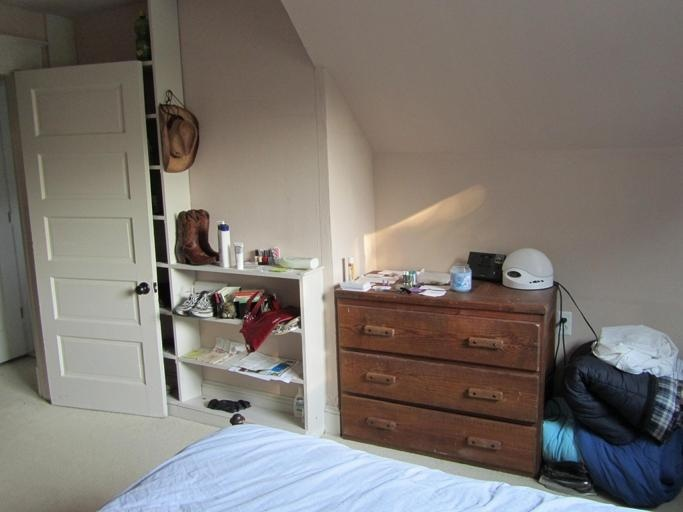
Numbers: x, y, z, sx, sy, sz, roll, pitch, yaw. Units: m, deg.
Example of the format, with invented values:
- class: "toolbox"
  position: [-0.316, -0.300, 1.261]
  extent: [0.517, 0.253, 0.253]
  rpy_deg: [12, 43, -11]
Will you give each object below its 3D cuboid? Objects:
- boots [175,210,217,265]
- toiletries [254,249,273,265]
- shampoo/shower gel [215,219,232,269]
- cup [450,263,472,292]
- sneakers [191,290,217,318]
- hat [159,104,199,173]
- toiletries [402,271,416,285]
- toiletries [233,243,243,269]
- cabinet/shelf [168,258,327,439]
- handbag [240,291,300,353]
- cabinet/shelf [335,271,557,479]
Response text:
- class: "boots"
  position: [-0.937, -0.128, 3.577]
  extent: [0.321, 0.354, 0.290]
  rpy_deg: [10, 15, 41]
- class: "toiletries"
  position: [-0.510, 0.005, 3.441]
  extent: [0.155, 0.100, 0.038]
  rpy_deg: [5, 5, 34]
- class: "shampoo/shower gel"
  position: [-0.775, -0.080, 3.487]
  extent: [0.091, 0.291, 0.241]
  rpy_deg: [1, 5, -13]
- class: "cup"
  position: [0.698, 0.140, 3.151]
  extent: [0.142, 0.157, 0.142]
  rpy_deg: [-1, 0, 0]
- class: "sneakers"
  position: [-0.911, 0.322, 3.525]
  extent: [0.136, 0.153, 0.208]
  rpy_deg: [2, 4, 4]
- class: "hat"
  position: [-1.049, -0.763, 3.414]
  extent: [0.327, 0.386, 0.150]
  rpy_deg: [-9, 23, -33]
- class: "toiletries"
  position: [0.409, 0.137, 3.218]
  extent: [0.077, 0.080, 0.076]
  rpy_deg: [1, 3, -2]
- class: "toiletries"
  position: [-0.659, -0.002, 3.410]
  extent: [0.053, 0.166, 0.177]
  rpy_deg: [1, 4, -11]
- class: "cabinet/shelf"
  position: [-0.584, 0.581, 3.414]
  extent: [1.109, 1.029, 0.329]
  rpy_deg: [2, 6, 21]
- class: "handbag"
  position: [-0.430, 0.420, 3.337]
  extent: [0.304, 0.329, 0.306]
  rpy_deg: [6, 6, 42]
- class: "cabinet/shelf"
  position: [0.639, 0.685, 3.323]
  extent: [1.213, 0.968, 0.671]
  rpy_deg: [3, 10, 29]
